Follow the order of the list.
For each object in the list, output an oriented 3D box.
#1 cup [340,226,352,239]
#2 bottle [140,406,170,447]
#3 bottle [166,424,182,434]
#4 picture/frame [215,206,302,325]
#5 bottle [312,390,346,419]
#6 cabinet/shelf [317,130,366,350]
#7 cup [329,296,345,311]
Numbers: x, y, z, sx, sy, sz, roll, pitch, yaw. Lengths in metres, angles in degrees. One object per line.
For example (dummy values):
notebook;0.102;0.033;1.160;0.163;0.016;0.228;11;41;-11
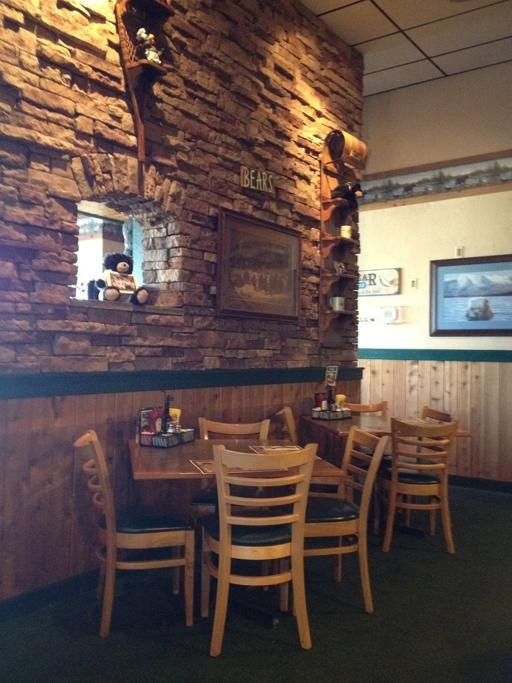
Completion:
cup;0.811;-0.971;5.076;0.105;0.146;0.278;1;-1;8
bottle;-0.536;0.430;3.025;0.170;0.233;0.239;-1;-4;19
bottle;-0.445;0.475;3.077;0.043;0.073;0.082;-14;-19;43
picture/frame;-0.005;-0.545;4.092;0.045;0.671;0.966;-2;-4;33
bottle;0.583;0.494;4.378;0.197;0.132;0.193;1;-2;0
cabinet/shelf;0.816;-0.905;5.084;0.345;1.928;0.676;1;-1;29
cup;0.740;-0.320;4.969;0.095;0.134;0.148;1;0;-36
